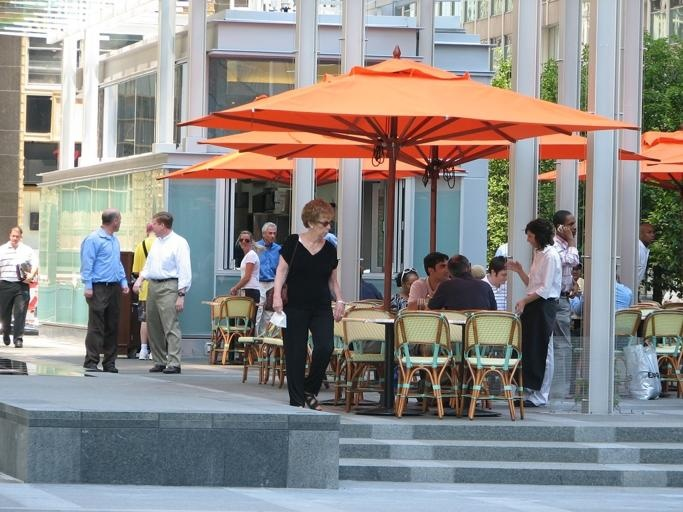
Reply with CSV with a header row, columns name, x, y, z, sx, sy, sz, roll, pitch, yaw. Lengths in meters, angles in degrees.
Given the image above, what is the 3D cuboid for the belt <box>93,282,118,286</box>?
name,x,y,z,sx,sy,sz,roll,pitch,yaw
belt,-3.425,0.417,25.427,0.375,0.062,0.047,2,-3,-29

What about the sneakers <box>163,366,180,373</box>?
name,x,y,z,sx,sy,sz,roll,pitch,yaw
sneakers,-2.510,1.687,25.958,0.204,0.085,0.105,7,-6,-32

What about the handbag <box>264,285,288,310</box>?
name,x,y,z,sx,sy,sz,roll,pitch,yaw
handbag,-0.880,0.578,23.695,0.278,0.206,0.391,-30,20,15

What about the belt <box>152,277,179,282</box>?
name,x,y,z,sx,sy,sz,roll,pitch,yaw
belt,-2.591,0.360,25.739,0.351,0.052,0.081,1,-3,-9

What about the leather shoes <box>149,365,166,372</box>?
name,x,y,z,sx,sy,sz,roll,pitch,yaw
leather shoes,-2.739,1.670,26.038,0.260,0.109,0.094,3,2,-4

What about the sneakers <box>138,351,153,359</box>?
name,x,y,z,sx,sy,sz,roll,pitch,yaw
sneakers,-3.217,1.636,28.731,0.116,0.141,0.340,2,-9,-9

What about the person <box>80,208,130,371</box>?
name,x,y,z,sx,sy,sz,roll,pitch,yaw
person,-3.453,0.506,25.521,0.698,2.368,0.475,2,-3,-32

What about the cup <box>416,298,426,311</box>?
name,x,y,z,sx,sy,sz,roll,pitch,yaw
cup,1.084,0.650,23.647,0.143,0.147,0.140,0,-9,0

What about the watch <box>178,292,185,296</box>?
name,x,y,z,sx,sy,sz,roll,pitch,yaw
watch,-2.343,0.571,25.689,0.079,0.051,0.072,-3,-3,32
